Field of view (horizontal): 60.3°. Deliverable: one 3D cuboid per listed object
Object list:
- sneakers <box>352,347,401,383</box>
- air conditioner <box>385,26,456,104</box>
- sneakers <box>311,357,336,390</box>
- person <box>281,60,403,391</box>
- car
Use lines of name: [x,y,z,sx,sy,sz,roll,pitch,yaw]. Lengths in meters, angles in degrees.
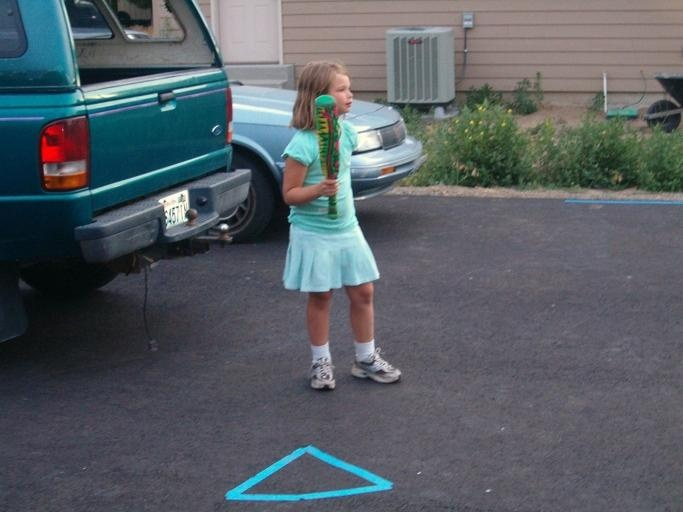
sneakers: [0.219,0.705,3.774,0.353,0.219,0.142,7,15,18]
air conditioner: [1.765,-4.251,13.101,1.525,1.582,1.403,6,23,20]
sneakers: [-0.115,0.730,3.670,0.145,0.158,0.351,3,2,-7]
person: [-0.028,-0.102,3.482,0.652,1.941,0.629,0,25,4]
car: [-0.421,-1.069,6.512,2.458,1.075,1.267,4,16,16]
